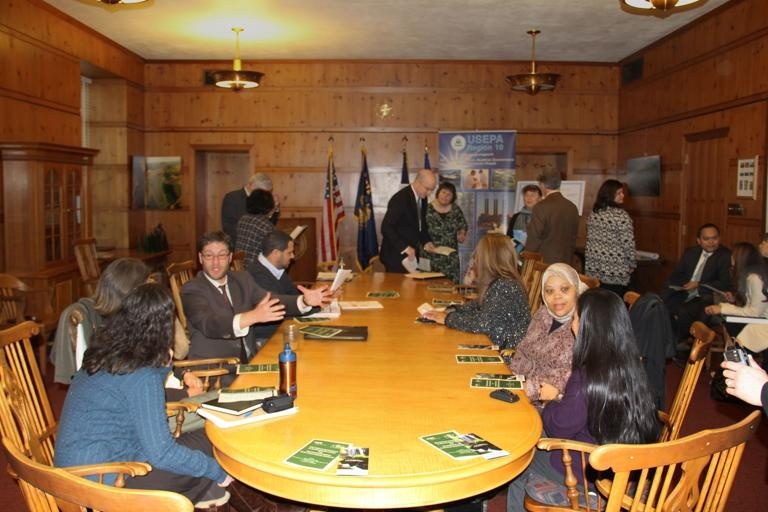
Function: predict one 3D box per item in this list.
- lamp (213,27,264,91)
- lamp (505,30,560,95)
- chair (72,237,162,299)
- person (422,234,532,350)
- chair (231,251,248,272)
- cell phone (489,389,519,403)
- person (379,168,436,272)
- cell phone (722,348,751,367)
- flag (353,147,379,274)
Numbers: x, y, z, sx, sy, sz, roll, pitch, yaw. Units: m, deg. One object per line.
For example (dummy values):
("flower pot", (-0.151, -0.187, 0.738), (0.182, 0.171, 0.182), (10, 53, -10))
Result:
("lamp", (-1.961, -2.694, 7.567), (0.711, 0.729, 0.697), (-1, 16, -12))
("lamp", (2.136, -2.764, 7.970), (0.782, 0.827, 0.771), (-6, 8, -37))
("chair", (-2.797, 0.103, 5.831), (0.509, 0.721, 0.761), (0, 11, 2))
("person", (0.782, 0.552, 4.519), (0.843, 1.332, 0.562), (-7, 10, 7))
("chair", (-1.511, 0.050, 5.866), (0.201, 0.292, 0.209), (-1, 1, -9))
("cell phone", (0.658, 0.760, 3.061), (0.084, 0.025, 0.073), (6, 8, 41))
("person", (0.288, -0.425, 6.804), (0.633, 1.250, 0.437), (1, 13, -9))
("cell phone", (1.643, 0.455, 2.603), (0.098, 0.082, 0.162), (11, 15, 34))
("flag", (-0.266, -0.723, 9.042), (0.381, 1.762, 1.029), (2, 12, -3))
